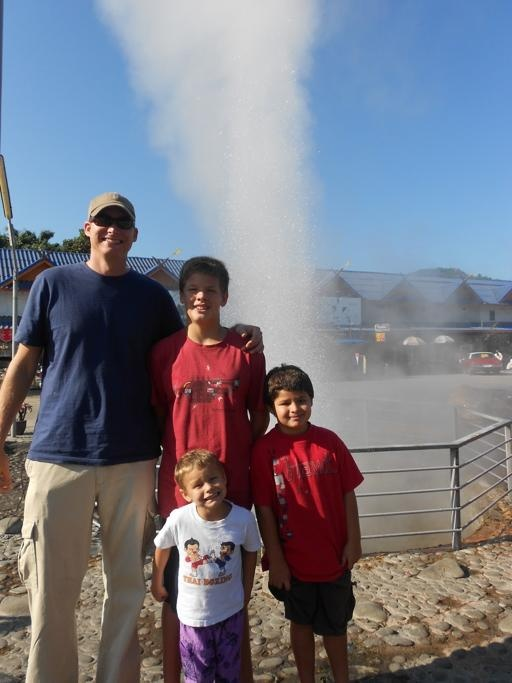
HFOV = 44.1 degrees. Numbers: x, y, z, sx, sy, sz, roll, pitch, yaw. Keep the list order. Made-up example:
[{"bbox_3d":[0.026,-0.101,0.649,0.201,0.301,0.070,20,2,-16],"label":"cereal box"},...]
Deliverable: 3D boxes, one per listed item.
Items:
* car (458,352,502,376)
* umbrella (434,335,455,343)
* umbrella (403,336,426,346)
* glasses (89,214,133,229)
[{"bbox_3d":[10.268,1.005,28.850,1.622,0.965,1.470,-2,1,22],"label":"car"},{"bbox_3d":[10.057,-0.082,34.179,0.669,0.426,1.356,-2,1,39],"label":"umbrella"},{"bbox_3d":[7.451,0.010,30.127,0.826,0.400,1.162,-2,1,21],"label":"umbrella"},{"bbox_3d":[-0.603,-0.506,2.648,0.099,0.027,0.093,5,-12,-19],"label":"glasses"}]
